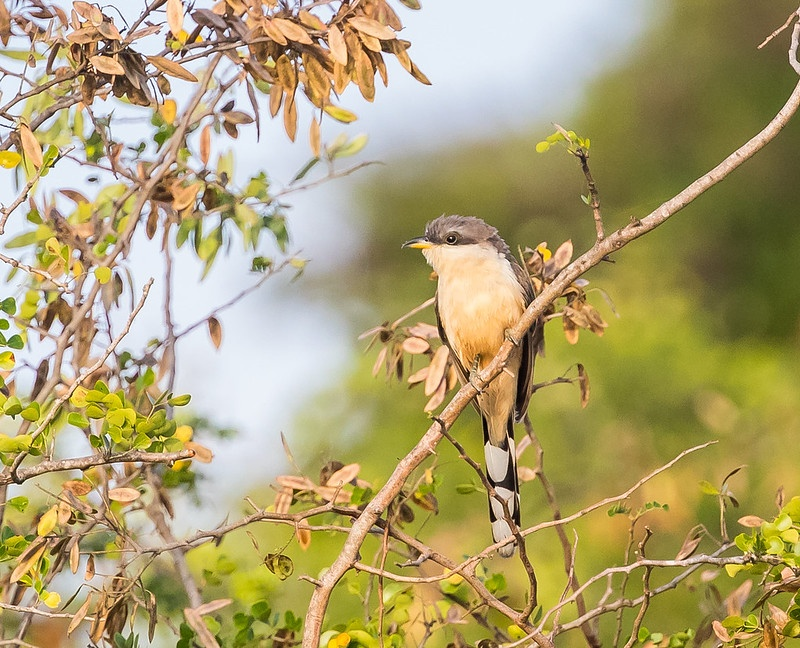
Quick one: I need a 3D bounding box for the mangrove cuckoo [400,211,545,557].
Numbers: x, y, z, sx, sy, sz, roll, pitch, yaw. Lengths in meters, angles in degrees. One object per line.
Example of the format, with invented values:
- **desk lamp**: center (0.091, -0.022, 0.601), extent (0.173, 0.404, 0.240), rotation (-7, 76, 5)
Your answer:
- **mangrove cuckoo**: center (0.410, 0.217, 6.266), extent (0.467, 0.670, 2.026), rotation (-9, -90, 11)
